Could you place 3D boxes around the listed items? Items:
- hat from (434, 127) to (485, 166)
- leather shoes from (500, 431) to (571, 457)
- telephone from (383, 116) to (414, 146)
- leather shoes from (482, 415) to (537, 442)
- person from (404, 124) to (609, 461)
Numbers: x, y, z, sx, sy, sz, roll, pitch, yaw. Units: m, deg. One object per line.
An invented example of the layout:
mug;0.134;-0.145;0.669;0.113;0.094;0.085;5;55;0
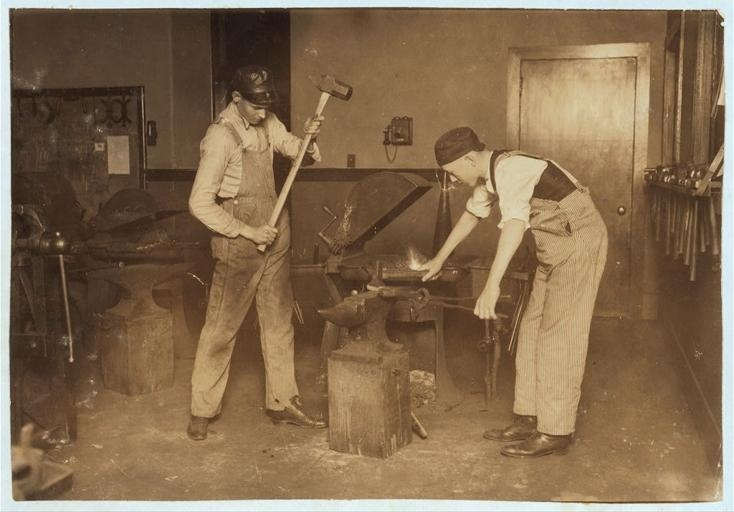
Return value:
hat;0.739;-0.904;6.354;0.490;0.274;0.368;-13;17;3
leather shoes;1.294;1.457;6.112;0.541;0.174;0.202;-1;-3;-6
telephone;0.317;-1.198;7.601;0.308;0.329;0.235;4;11;17
leather shoes;1.153;1.375;6.332;0.479;0.204;0.173;-1;-2;-1
person;1.098;0.446;6.322;1.079;2.783;1.188;2;15;-8
